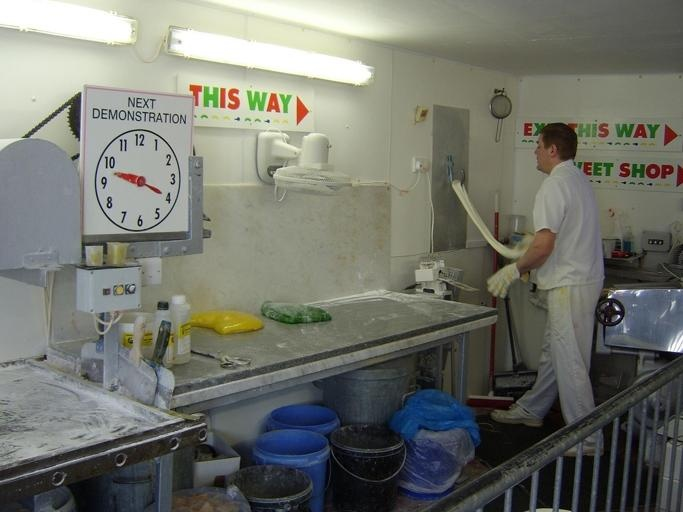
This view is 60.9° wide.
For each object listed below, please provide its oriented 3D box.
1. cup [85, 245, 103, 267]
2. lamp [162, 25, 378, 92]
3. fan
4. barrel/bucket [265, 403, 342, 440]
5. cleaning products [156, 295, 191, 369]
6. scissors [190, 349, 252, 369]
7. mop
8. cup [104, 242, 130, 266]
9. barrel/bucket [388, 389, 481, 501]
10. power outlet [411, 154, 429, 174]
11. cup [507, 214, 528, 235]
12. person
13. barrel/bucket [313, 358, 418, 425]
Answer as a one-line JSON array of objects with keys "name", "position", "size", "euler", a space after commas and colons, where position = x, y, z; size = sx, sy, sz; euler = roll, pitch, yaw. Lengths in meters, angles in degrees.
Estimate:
[{"name": "cup", "position": [-0.927, -0.001, 2.166], "size": [0.073, 0.080, 0.070], "euler": [2, 2, 0]}, {"name": "lamp", "position": [-0.367, -1.123, 3.287], "size": [1.273, 0.159, 0.116], "euler": [-6, 13, -36]}, {"name": "fan", "position": [-0.244, -0.501, 3.287], "size": [0.406, 0.394, 0.578], "euler": [-3, 12, -25]}, {"name": "barrel/bucket", "position": [-0.228, 0.947, 3.370], "size": [0.306, 0.177, 0.387], "euler": [8, 9, 30]}, {"name": "cleaning products", "position": [-0.718, 0.319, 2.490], "size": [0.121, 0.286, 0.125], "euler": [1, 10, -35]}, {"name": "scissors", "position": [-0.528, 0.450, 2.557], "size": [0.307, 0.036, 0.093], "euler": [17, 17, 31]}, {"name": "mop", "position": [1.183, 0.103, 4.623], "size": [0.372, 2.125, 0.389], "euler": [7, 10, 33]}, {"name": "cup", "position": [-0.862, -0.011, 2.210], "size": [0.069, 0.082, 0.090], "euler": [9, 4, 28]}, {"name": "barrel/bucket", "position": [0.517, 1.041, 3.392], "size": [0.421, 0.530, 0.386], "euler": [6, 6, -1]}, {"name": "power outlet", "position": [0.593, -0.678, 4.303], "size": [0.049, 0.117, 0.196], "euler": [11, 14, 40]}, {"name": "cup", "position": [1.497, -0.273, 4.935], "size": [0.156, 0.157, 0.160], "euler": [0, 0, 0]}, {"name": "person", "position": [1.424, 0.216, 3.844], "size": [0.648, 2.155, 0.691], "euler": [1, 10, -5]}, {"name": "barrel/bucket", "position": [0.142, 0.707, 3.469], "size": [0.393, 0.429, 0.433], "euler": [5, 10, 31]}]
